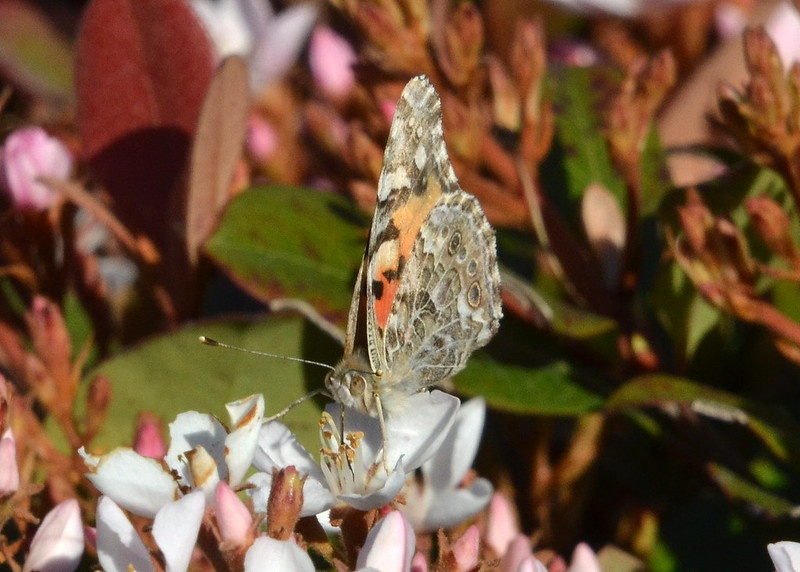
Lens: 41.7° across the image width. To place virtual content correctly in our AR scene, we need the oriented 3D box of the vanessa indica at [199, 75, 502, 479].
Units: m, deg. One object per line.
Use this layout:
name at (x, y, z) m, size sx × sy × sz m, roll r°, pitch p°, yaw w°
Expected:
vanessa indica at (-0.034, 0.051, 1.239) m, size 0.457 × 0.286 × 0.276 m, roll -33°, pitch -4°, yaw 17°
